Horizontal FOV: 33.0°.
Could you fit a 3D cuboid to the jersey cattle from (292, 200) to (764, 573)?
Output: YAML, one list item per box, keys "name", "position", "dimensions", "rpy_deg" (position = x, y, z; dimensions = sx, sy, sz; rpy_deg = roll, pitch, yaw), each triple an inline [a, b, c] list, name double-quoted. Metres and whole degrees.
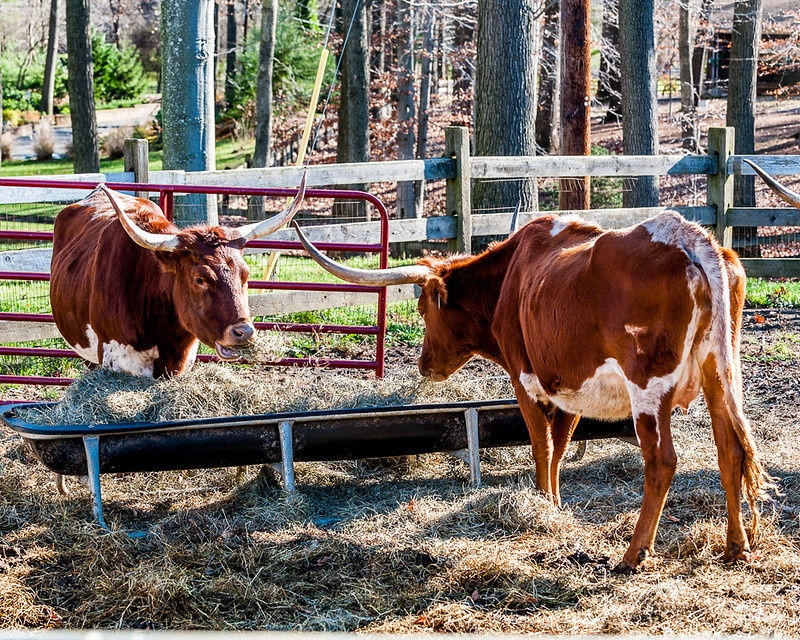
- name: "jersey cattle"
  position: [1.432, 0.479, 11.675]
  dimensions: [2.141, 2.910, 3.800]
  rpy_deg: [-6, 5, -40]
